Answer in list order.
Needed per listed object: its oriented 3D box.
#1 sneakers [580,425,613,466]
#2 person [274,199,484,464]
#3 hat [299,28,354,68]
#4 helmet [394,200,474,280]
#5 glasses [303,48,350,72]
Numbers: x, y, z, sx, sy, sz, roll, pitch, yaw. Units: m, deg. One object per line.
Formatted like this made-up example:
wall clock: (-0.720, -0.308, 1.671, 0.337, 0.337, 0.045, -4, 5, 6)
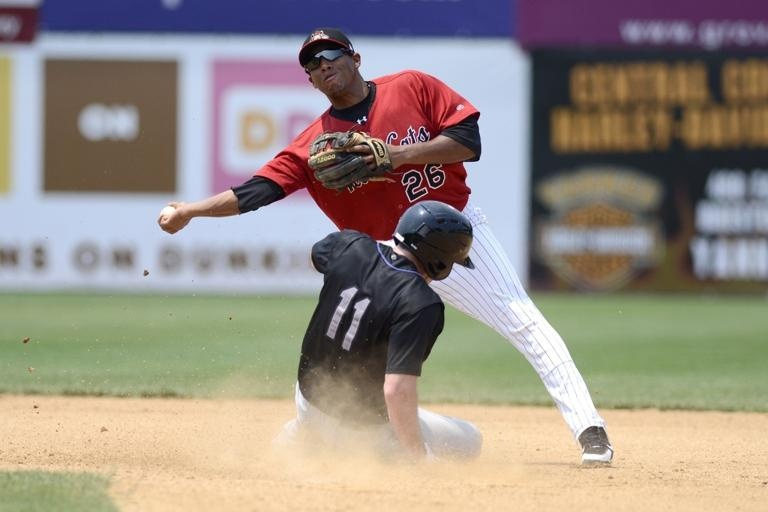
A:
sneakers: (1.544, 1.393, 9.849, 0.249, 0.289, 0.108, 0, 13, -2)
person: (-0.040, 0.591, 10.085, 1.362, 1.837, 1.042, 33, 25, 26)
hat: (-0.464, -1.598, 10.077, 0.409, 0.171, 0.539, -11, -2, 1)
helmet: (0.355, -0.125, 9.486, 0.629, 0.436, 0.433, 19, 13, -28)
glasses: (-0.424, -1.457, 9.962, 0.340, 0.188, 0.089, 0, 13, -1)
